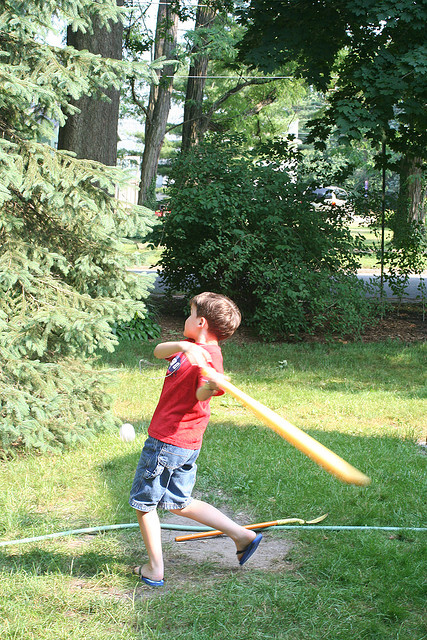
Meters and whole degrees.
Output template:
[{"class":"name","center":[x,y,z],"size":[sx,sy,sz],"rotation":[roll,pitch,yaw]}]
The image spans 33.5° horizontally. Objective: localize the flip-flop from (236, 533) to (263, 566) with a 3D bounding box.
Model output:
[{"class":"flip-flop","center":[0.177,1.076,3.366],"size":[0.074,0.180,0.063],"rotation":[25,23,-5]}]

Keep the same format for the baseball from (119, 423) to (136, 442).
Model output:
[{"class":"baseball","center":[-0.656,0.850,5.355],"size":[0.129,0.130,0.225],"rotation":[5,-1,-5]}]

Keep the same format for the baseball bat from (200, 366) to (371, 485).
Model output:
[{"class":"baseball bat","center":[0.212,0.323,2.366],"size":[0.055,0.085,1.020],"rotation":[45,-7,-29]}]
